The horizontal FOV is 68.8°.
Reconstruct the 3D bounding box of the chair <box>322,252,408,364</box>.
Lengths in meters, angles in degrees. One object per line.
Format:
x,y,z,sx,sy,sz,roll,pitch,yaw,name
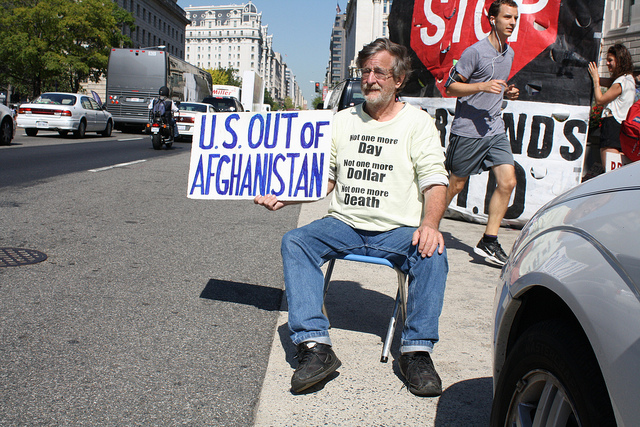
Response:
0.311,0.611,3.269,0.615,0.701,0.374,6,11,19,chair

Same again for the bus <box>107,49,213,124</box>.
-10.422,-8.591,33.404,3.042,4.661,11.692,4,12,1,bus

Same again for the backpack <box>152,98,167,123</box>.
-6.180,-3.924,18.097,0.532,0.914,0.333,-1,11,-15,backpack

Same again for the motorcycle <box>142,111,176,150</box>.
-6.603,-3.229,19.164,1.154,1.704,2.801,1,-1,-18,motorcycle

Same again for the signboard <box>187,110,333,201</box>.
-0.461,-0.429,3.587,1.132,0.701,0.187,7,11,19,signboard

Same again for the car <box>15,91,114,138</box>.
-11.776,-4.585,22.202,1.951,2.007,3.789,7,12,21,car
